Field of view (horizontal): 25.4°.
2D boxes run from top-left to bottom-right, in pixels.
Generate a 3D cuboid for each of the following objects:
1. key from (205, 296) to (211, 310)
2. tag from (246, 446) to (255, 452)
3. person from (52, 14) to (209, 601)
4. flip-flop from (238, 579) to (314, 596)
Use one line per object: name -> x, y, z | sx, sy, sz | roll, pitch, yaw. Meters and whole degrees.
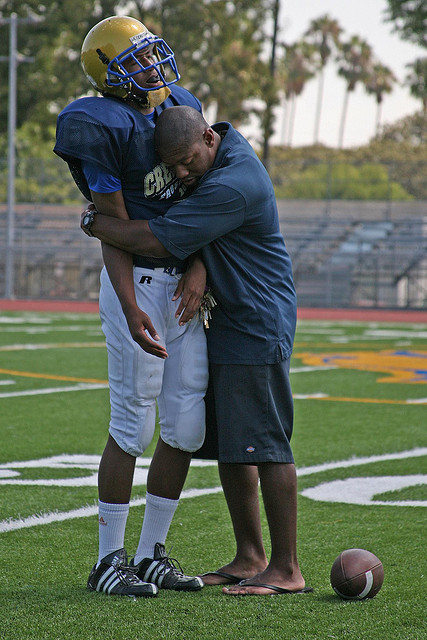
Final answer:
key -> -0.018, -0.052, 2.851 | 0.009, 0.040, 0.009 | -18, 8, 9
tag -> 0.109, 0.382, 2.807 | 0.020, 0.012, 0.001 | -2, -2, 10
person -> -0.263, -0.091, 3.053 | 0.538, 1.728, 0.885 | 4, 4, -8
flip-flop -> 0.181, 0.780, 2.769 | 0.206, 0.040, 0.064 | 7, -20, -2
